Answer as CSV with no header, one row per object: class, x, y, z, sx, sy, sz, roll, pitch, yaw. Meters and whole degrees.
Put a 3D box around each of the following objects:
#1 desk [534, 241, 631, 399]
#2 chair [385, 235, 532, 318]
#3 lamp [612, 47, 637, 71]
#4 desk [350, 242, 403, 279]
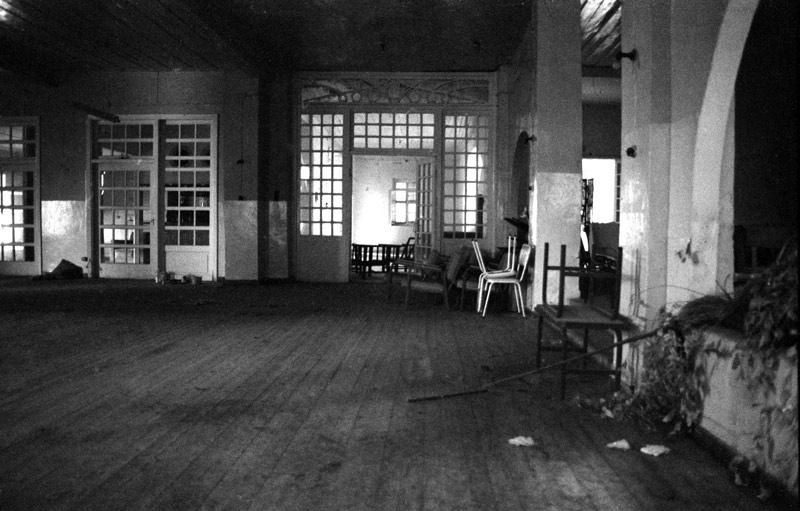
desk,1.876,0.690,6.224,0.571,1.289,1.431,-1,4,0
chair,0.915,0.318,9.201,1.996,1.205,1.112,0,3,-2
lamp,2.136,-1.857,5.615,0.206,0.165,0.398,4,9,17
desk,-0.618,0.109,14.374,0.793,0.574,1.142,0,-4,2
